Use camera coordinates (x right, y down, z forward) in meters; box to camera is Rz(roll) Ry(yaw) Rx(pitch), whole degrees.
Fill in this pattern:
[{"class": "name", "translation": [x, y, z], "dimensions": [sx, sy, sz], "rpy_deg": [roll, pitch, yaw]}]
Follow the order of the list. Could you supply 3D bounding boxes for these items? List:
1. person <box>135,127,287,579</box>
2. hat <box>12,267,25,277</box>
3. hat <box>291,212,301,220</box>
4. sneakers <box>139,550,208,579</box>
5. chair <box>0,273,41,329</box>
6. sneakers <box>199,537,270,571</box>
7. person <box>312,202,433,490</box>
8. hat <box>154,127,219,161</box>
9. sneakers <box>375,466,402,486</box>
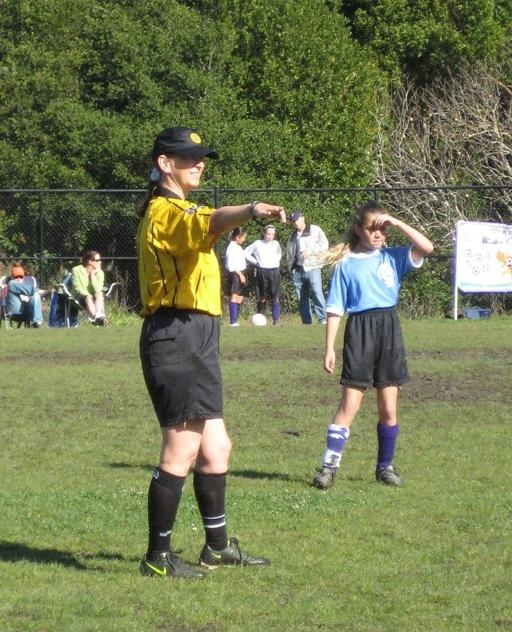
[{"class": "person", "translation": [-0.336, 0.211, 7.310], "dimensions": [0.680, 2.523, 0.577], "rpy_deg": [-1, 9, -1]}, {"class": "hat", "translation": [-3.152, -0.567, 17.055], "dimensions": [0.125, 0.167, 0.175], "rpy_deg": [-2, 11, -6]}, {"class": "hat", "translation": [0.516, -1.278, 16.631], "dimensions": [0.129, 0.133, 0.203], "rpy_deg": [-1, 9, 1]}, {"class": "sneakers", "translation": [-0.473, 1.417, 7.381], "dimensions": [0.394, 0.173, 0.148], "rpy_deg": [3, 1, -1]}, {"class": "chair", "translation": [-3.128, -0.226, 17.124], "dimensions": [0.575, 0.849, 0.715], "rpy_deg": [-1, 9, 1]}, {"class": "sneakers", "translation": [-0.150, 1.393, 7.585], "dimensions": [0.440, 0.216, 0.154], "rpy_deg": [1, 0, -8]}, {"class": "person", "translation": [0.800, 0.199, 8.920], "dimensions": [0.783, 1.925, 0.581], "rpy_deg": [0, 9, 6]}, {"class": "hat", "translation": [-0.411, -0.982, 7.350], "dimensions": [0.280, 0.150, 0.196], "rpy_deg": [3, 10, 8]}, {"class": "sneakers", "translation": [0.927, 1.118, 8.954], "dimensions": [0.085, 0.085, 0.179], "rpy_deg": [-2, 0, -23]}]
